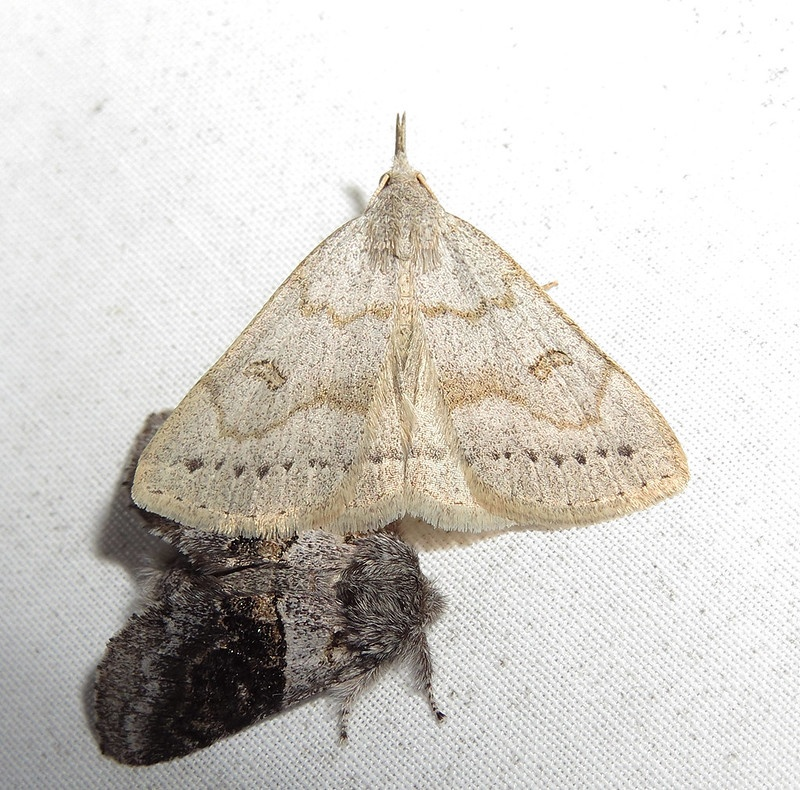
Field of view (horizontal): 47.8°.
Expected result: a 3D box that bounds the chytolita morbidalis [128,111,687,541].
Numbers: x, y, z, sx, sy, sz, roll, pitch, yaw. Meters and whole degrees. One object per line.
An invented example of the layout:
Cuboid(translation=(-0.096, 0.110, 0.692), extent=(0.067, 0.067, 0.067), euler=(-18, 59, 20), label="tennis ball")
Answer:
Cuboid(translation=(0.054, -0.104, 1.615), extent=(0.904, 0.095, 0.741), euler=(0, 84, 4), label="chytolita morbidalis")
